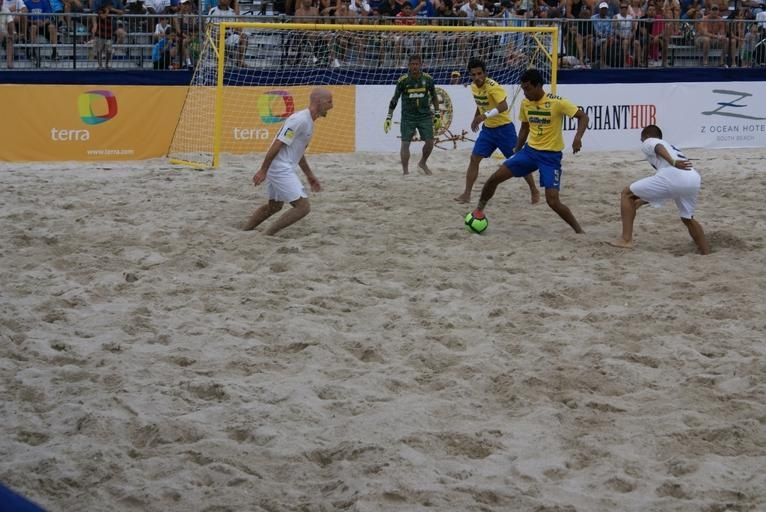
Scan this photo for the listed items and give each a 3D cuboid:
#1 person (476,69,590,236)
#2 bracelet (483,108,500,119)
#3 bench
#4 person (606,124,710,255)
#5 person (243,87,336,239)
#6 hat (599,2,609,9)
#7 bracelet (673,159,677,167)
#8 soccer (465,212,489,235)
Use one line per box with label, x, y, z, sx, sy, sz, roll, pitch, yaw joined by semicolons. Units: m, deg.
person;1.939;-1.278;10.965;1.270;1.957;0.579;5;14;12
bracelet;1.499;-1.934;12.064;0.129;0.061;0.151;-25;-1;-12
bench;-5.192;-3.580;15.436;2.330;0.732;0.447;-3;14;-21
person;3.338;-0.778;10.552;1.195;1.556;1.113;3;-8;29
person;-1.143;-1.149;10.770;0.984;1.745;1.513;2;13;-4
hat;4.300;-4.839;17.181;0.212;0.099;0.317;0;19;1
bracelet;3.393;-1.067;10.256;0.046;0.071;0.029;6;14;13
soccer;1.196;-0.401;11.025;0.267;0.245;0.257;2;3;-26
